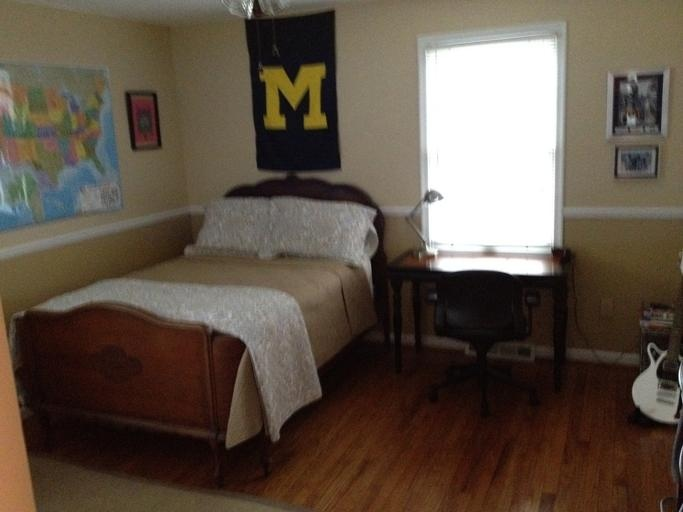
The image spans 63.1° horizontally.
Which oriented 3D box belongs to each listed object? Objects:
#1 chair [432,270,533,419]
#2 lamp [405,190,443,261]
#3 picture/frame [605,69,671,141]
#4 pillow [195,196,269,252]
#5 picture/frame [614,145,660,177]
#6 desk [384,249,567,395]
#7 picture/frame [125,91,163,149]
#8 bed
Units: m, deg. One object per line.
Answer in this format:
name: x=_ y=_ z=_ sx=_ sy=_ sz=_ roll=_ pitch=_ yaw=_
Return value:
chair: x=0.919 y=0.516 z=3.934 sx=0.886 sy=1.087 sz=0.840 roll=1 pitch=8 yaw=19
lamp: x=0.683 y=-0.273 z=4.499 sx=0.347 sy=0.555 sz=0.137 roll=4 pitch=10 yaw=40
picture/frame: x=2.081 y=-1.068 z=3.864 sx=0.458 sy=0.587 sz=0.041 roll=3 pitch=13 yaw=25
pillow: x=-0.872 y=-0.243 z=4.602 sx=0.620 sy=0.483 sz=0.154 roll=2 pitch=-18 yaw=32
picture/frame: x=2.104 y=-0.680 z=3.928 sx=0.221 sy=0.213 sz=0.017 roll=3 pitch=9 yaw=23
desk: x=0.962 y=0.468 z=4.191 sx=1.090 sy=0.757 sz=0.600 roll=2 pitch=7 yaw=22
picture/frame: x=-1.727 y=-1.182 z=4.809 sx=0.053 sy=0.546 sz=0.469 roll=1 pitch=13 yaw=23
bed: x=-0.855 y=0.314 z=4.306 sx=1.778 sy=1.520 sz=2.559 roll=3 pitch=13 yaw=22
